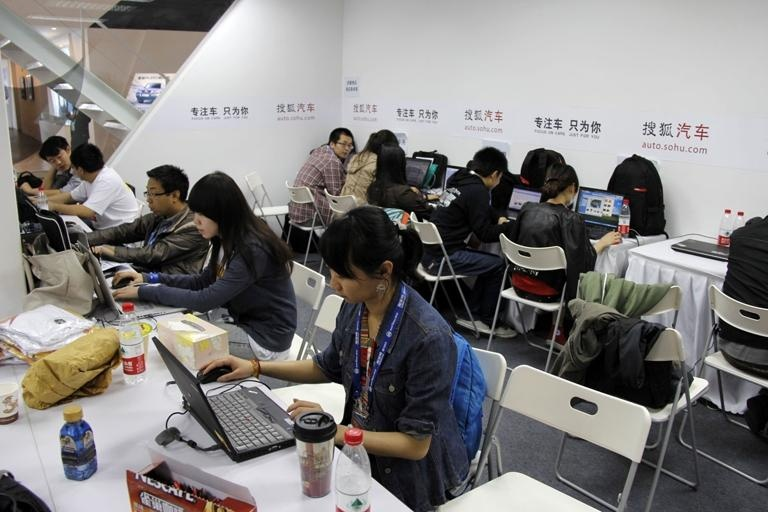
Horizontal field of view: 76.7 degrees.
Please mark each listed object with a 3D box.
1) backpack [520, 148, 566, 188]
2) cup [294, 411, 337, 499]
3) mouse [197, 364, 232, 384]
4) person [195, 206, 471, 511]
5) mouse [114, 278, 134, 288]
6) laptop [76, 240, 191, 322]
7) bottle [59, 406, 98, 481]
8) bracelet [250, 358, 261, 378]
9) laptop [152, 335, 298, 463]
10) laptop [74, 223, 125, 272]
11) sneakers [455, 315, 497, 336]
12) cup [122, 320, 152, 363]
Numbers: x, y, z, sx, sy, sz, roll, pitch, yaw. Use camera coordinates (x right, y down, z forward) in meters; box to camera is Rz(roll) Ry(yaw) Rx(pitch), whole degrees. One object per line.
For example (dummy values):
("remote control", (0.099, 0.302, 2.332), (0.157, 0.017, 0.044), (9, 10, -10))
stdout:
("backpack", (1.455, -0.784, 4.423), (0.311, 0.465, 0.318), (-16, 28, -35))
("cup", (-0.201, 0.641, 1.583), (0.169, 0.255, 0.102), (-6, 12, -41))
("mouse", (-0.710, 0.496, 2.031), (0.101, 0.037, 0.058), (-6, 13, -29))
("person", (-0.307, 0.293, 2.253), (1.030, 1.543, 0.909), (-4, 12, -28))
("mouse", (-1.510, 0.172, 2.831), (0.094, 0.029, 0.054), (-19, 30, -30))
("laptop", (-1.415, 0.003, 2.697), (0.449, 0.332, 0.630), (-2, 11, -31))
("bottle", (-1.016, 0.621, 1.625), (0.102, 0.236, 0.107), (2, 9, 0))
("bracelet", (-0.553, 0.493, 2.133), (0.050, 0.064, 0.066), (-5, 31, -30))
("laptop", (-0.573, 0.588, 1.767), (0.389, 0.278, 0.469), (-7, 28, -40))
("laptop", (-1.825, -0.039, 3.140), (0.274, 0.296, 0.408), (2, 8, -37))
("sneakers", (0.799, 0.625, 4.317), (0.299, 0.110, 0.110), (10, 7, 25))
("cup", (-1.138, 0.397, 2.329), (0.151, 0.169, 0.149), (7, 16, -2))
